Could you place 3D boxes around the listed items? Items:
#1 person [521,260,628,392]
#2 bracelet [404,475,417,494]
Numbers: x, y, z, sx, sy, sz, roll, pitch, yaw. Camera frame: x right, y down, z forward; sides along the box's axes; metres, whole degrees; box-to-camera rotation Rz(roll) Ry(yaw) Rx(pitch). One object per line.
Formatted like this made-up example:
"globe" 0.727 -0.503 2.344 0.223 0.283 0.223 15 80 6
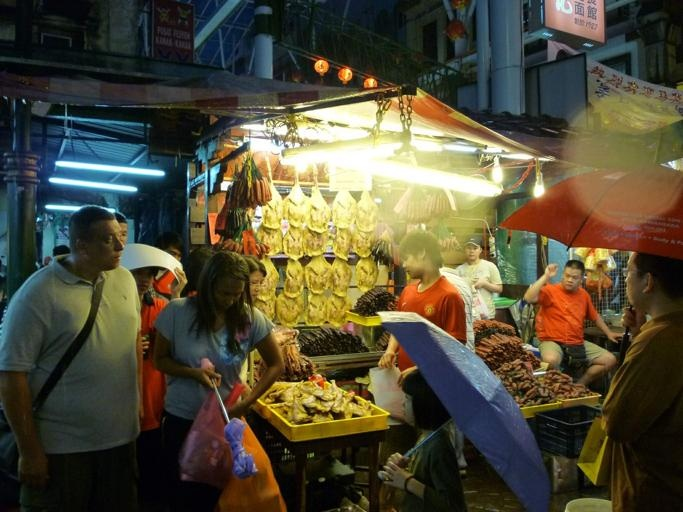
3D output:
"person" 2.829 0.863 7.798 1.398 1.941 0.957 1 -9 -4
"bracelet" 0.430 1.401 3.908 0.072 0.049 0.093 36 -7 -30
